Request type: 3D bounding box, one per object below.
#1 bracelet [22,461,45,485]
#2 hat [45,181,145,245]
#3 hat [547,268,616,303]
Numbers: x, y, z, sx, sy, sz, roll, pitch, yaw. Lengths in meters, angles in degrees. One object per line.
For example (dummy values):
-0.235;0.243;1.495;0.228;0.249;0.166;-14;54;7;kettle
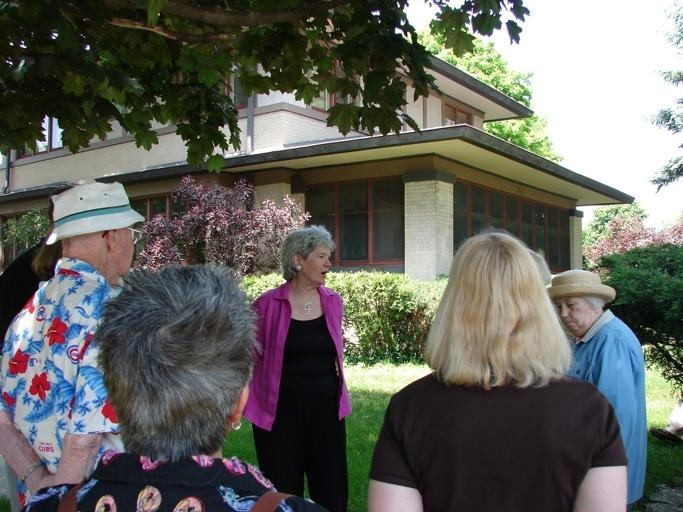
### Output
-1.359;0.954;2.784;0.079;0.020;0.076;-46;11;17;bracelet
-1.158;-0.291;3.088;0.373;0.201;0.354;3;34;-3;hat
1.576;0.204;4.228;0.458;0.183;0.431;3;6;20;hat
